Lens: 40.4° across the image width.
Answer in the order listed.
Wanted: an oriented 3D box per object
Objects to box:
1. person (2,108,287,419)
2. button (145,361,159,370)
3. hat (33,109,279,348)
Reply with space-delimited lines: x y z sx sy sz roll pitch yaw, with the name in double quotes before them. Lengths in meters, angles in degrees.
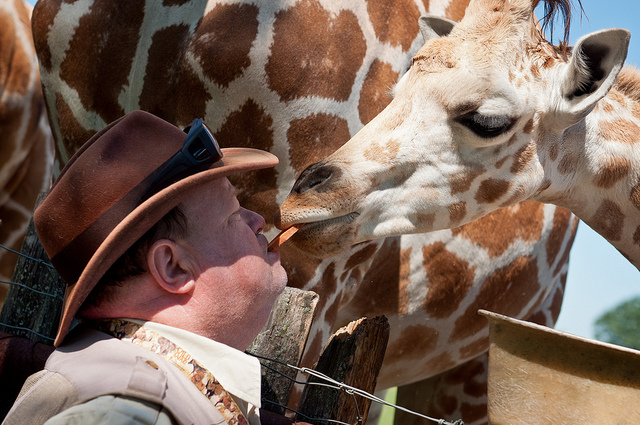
"person" -0.977 0.362 4.335 1.097 1.646 1.616 -11 3 -19
"button" -0.715 0.649 3.709 0.058 0.025 0.032 17 4 -2
"hat" -0.791 -0.078 4.047 0.504 1.079 0.867 39 -9 -6
